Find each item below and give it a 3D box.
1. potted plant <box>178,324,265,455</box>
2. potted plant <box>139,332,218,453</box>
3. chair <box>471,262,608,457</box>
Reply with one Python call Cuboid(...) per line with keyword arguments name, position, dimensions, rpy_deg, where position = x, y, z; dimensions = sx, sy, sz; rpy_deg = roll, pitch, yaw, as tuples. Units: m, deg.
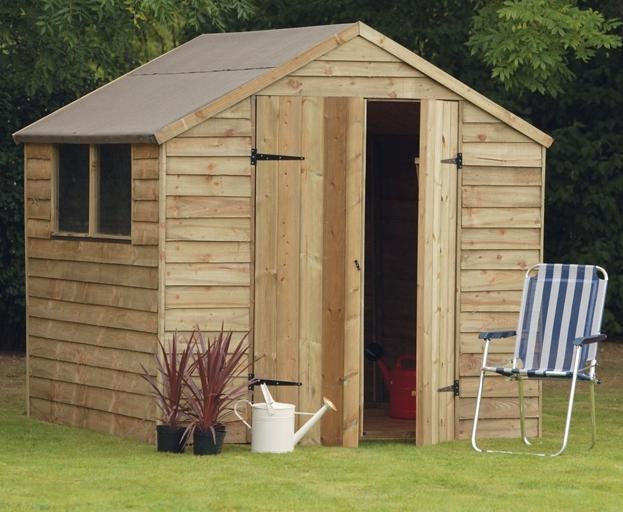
Cuboid(name="potted plant", position=(-0.950, 1.340, 20.762), dimensions=(0.678, 1.272, 0.550), rpy_deg=(1, -1, -3))
Cuboid(name="potted plant", position=(-1.408, 1.564, 20.790), dimensions=(0.492, 0.788, 0.558), rpy_deg=(5, -3, -24))
Cuboid(name="chair", position=(2.333, 1.049, 21.239), dimensions=(1.323, 1.933, 1.087), rpy_deg=(1, -1, 7))
